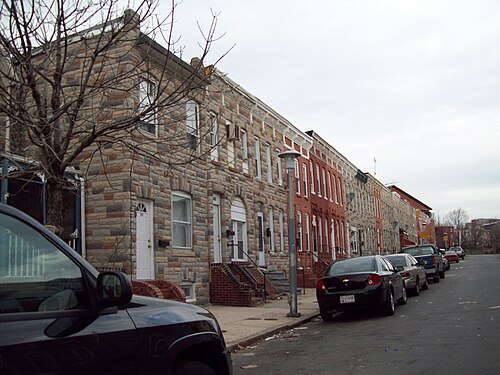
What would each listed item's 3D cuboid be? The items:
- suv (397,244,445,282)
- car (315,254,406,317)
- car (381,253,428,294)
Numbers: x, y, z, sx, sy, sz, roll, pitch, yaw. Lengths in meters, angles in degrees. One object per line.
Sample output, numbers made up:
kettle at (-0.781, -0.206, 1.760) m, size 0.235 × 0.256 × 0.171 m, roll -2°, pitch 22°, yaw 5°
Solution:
suv at (10.724, 4.474, 25.691) m, size 1.802 × 1.533 × 3.864 m, roll -3°, pitch -3°, yaw 21°
car at (3.665, 3.058, 13.176) m, size 3.081 × 1.860 × 1.607 m, roll 3°, pitch -10°, yaw -34°
car at (7.001, 3.790, 19.030) m, size 1.387 × 1.270 × 3.714 m, roll -5°, pitch -3°, yaw 27°
